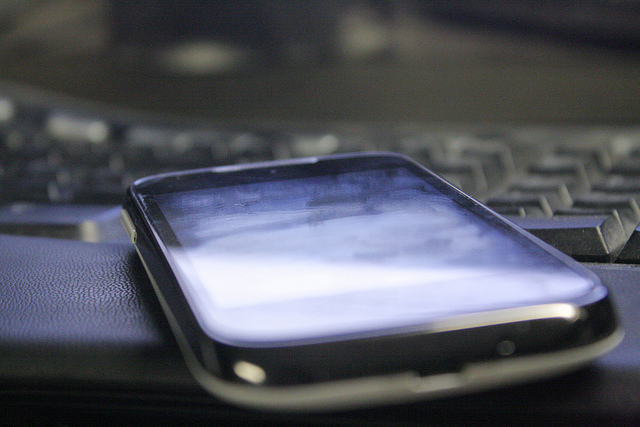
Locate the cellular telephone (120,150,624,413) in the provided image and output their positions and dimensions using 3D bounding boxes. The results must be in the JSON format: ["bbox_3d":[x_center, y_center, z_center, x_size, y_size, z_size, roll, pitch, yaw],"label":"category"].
[{"bbox_3d":[0.001,0.018,0.282,0.146,0.041,0.182,-6,26,-18],"label":"cellular telephone"}]
